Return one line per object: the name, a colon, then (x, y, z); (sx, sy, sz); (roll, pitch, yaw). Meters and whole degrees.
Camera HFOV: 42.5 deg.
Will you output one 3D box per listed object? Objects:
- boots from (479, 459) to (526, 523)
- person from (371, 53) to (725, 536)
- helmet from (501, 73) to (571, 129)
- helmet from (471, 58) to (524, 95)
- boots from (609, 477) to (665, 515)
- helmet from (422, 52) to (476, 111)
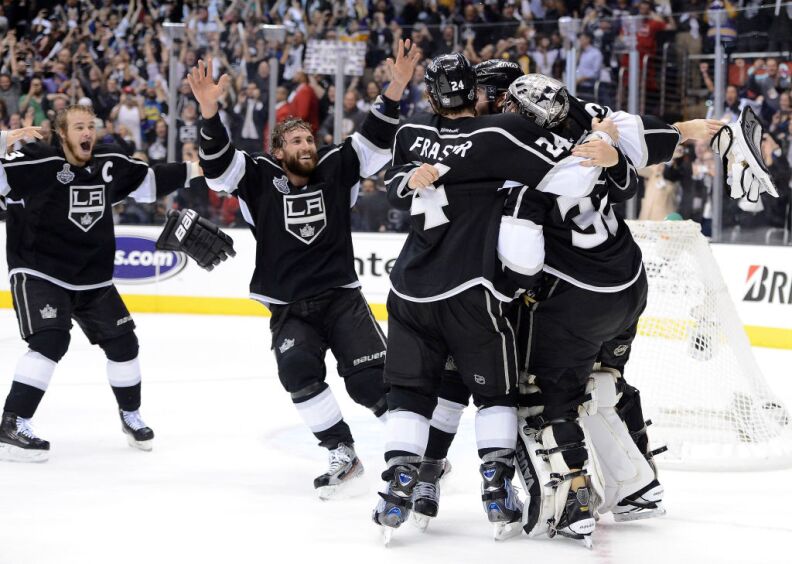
boots: (0.514, 0.992, 4.824); (0.223, 0.318, 0.191); (-2, 9, -13)
person: (0.344, 0.052, 4.806); (0.830, 2.227, 0.578); (1, 9, 8)
helmet: (0.686, -0.844, 4.831); (0.263, 0.222, 0.228); (30, -1, 22)
helmet: (0.513, -1.046, 5.140); (0.208, 0.165, 0.156); (-18, 30, -12)
boots: (1.202, 1.090, 5.011); (0.209, 0.165, 0.169); (-26, -6, 26)
helmet: (0.255, -0.975, 4.942); (0.216, 0.244, 0.281); (-12, 29, -2)
